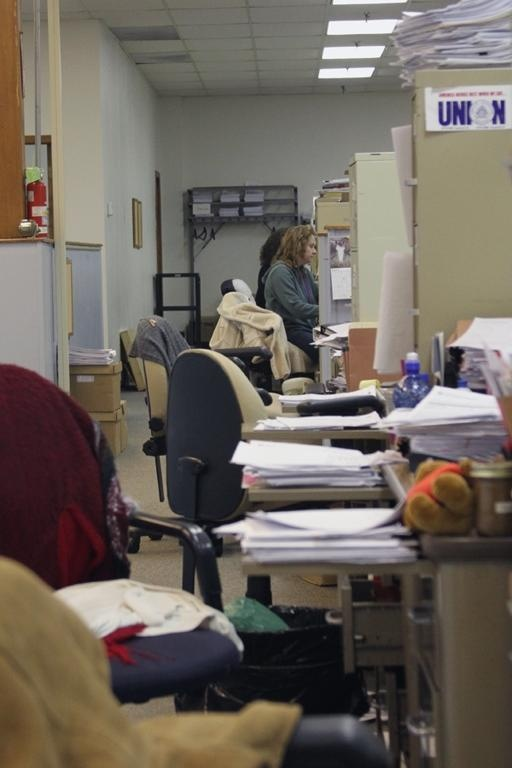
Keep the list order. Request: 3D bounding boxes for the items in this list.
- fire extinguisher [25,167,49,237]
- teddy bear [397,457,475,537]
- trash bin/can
[{"bbox_3d":[-0.831,-0.699,2.733,0.077,0.286,0.218,-2,4,-18],"label":"fire extinguisher"},{"bbox_3d":[0.208,0.127,0.827,0.053,0.040,0.092,-3,17,8],"label":"teddy bear"},{"bbox_3d":[0.052,0.513,1.402,0.289,0.220,0.248,-2,1,-4],"label":"trash bin/can"}]
